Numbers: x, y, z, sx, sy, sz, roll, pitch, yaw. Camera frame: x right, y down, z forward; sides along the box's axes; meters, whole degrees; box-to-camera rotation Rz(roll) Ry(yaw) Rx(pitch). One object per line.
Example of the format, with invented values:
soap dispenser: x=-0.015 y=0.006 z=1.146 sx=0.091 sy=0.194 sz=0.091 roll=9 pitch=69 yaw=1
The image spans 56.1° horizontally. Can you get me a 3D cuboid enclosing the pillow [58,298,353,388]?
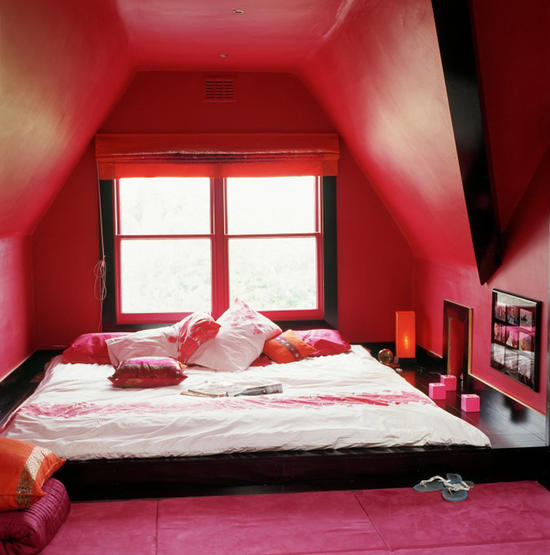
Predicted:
pillow: x=-0.422 y=0.461 z=3.635 sx=1.218 sy=0.331 sz=0.791 roll=-1 pitch=-1 yaw=-17

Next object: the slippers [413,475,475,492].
slippers: x=0.732 y=0.893 z=2.237 sx=0.126 sy=0.027 sz=0.106 roll=0 pitch=-1 yaw=9
